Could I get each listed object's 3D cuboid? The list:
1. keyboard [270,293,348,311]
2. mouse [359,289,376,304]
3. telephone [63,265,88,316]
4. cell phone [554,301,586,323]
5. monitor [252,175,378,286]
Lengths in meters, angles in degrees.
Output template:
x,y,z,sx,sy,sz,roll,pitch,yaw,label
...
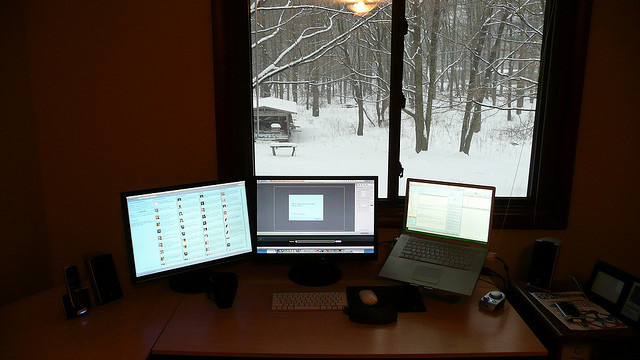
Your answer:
x,y,z,sx,sy,sz,roll,pitch,yaw,label
-0.089,0.851,3.119,0.411,0.044,0.105,1,52,0,keyboard
0.337,0.818,3.111,0.092,0.069,0.090,-4,14,-24,mouse
-1.688,0.761,3.067,0.100,0.306,0.167,-9,18,-36,telephone
1.776,0.933,3.165,0.141,0.078,0.183,1,13,-5,cell phone
-0.037,0.355,3.317,0.930,0.631,0.324,0,4,-1,monitor
